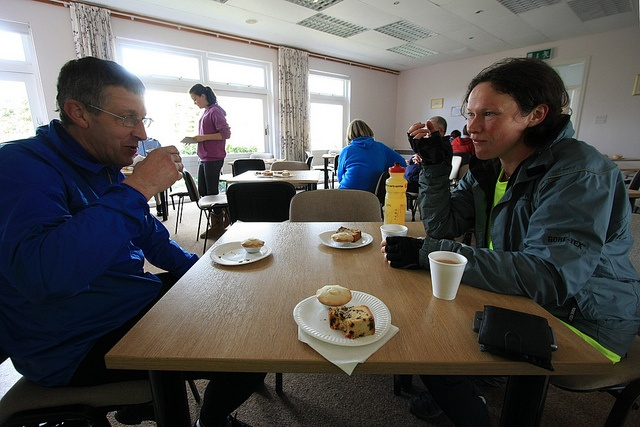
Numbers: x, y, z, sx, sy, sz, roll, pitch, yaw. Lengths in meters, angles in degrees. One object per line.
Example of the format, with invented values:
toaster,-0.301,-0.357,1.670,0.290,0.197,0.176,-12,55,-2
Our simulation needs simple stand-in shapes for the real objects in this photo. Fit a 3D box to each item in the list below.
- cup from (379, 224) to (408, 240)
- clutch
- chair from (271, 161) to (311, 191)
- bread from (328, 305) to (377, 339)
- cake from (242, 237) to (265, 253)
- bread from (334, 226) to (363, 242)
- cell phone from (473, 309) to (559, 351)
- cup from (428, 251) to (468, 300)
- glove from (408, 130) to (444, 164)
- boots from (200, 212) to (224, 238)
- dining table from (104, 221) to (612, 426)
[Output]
cup,0.363,0.081,1.903,0.088,0.065,0.090,1,2,0
clutch,0.673,0.416,1.348,0.200,0.047,0.186,11,40,8
chair,-0.349,-0.451,5.181,0.483,0.592,0.436,-1,2,-3
bread,0.113,0.384,1.409,0.119,0.046,0.114,1,10,-8
cake,-0.314,0.142,1.826,0.073,0.040,0.073,3,-1,20
bread,0.133,0.102,1.934,0.086,0.036,0.085,7,28,21
cell phone,0.684,0.421,1.390,0.249,0.047,0.130,7,25,12
cup,0.478,0.230,1.543,0.174,0.163,0.169,1,7,0
glove,0.572,-0.344,2.085,0.175,0.171,0.074,-19,8,4
boots,-1.192,0.127,4.315,0.298,0.277,0.131,-12,34,-34
dining table,-0.010,0.363,1.590,0.926,0.557,0.929,1,12,3
